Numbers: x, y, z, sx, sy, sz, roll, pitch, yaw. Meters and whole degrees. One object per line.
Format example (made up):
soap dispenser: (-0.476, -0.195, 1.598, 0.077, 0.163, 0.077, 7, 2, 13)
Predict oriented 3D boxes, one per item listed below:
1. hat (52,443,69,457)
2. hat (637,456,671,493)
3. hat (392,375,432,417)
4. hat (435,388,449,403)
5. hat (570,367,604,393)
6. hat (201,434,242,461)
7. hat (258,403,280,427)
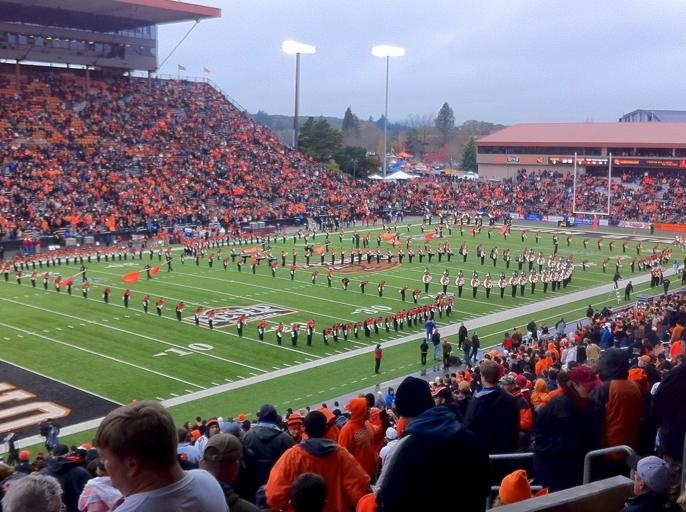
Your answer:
hat: (-3.166, 2.172, 9.374, 0.155, 0.155, 0.205, 1, -2, -23)
hat: (2.729, 1.912, 7.426, 0.224, 0.333, 0.183, -9, -36, -5)
hat: (0.635, 1.286, 7.562, 0.407, 0.357, 0.293, -11, 19, -15)
hat: (1.267, 1.778, 10.528, 0.169, 0.200, 0.383, 0, 3, 9)
hat: (2.825, 1.436, 9.754, 0.346, 0.249, 0.869, 0, 3, 17)
hat: (-1.077, 1.694, 7.432, 0.213, 0.145, 0.293, 8, 10, 35)
hat: (-0.832, 1.730, 9.243, 0.192, 0.278, 0.540, -1, 3, -7)
